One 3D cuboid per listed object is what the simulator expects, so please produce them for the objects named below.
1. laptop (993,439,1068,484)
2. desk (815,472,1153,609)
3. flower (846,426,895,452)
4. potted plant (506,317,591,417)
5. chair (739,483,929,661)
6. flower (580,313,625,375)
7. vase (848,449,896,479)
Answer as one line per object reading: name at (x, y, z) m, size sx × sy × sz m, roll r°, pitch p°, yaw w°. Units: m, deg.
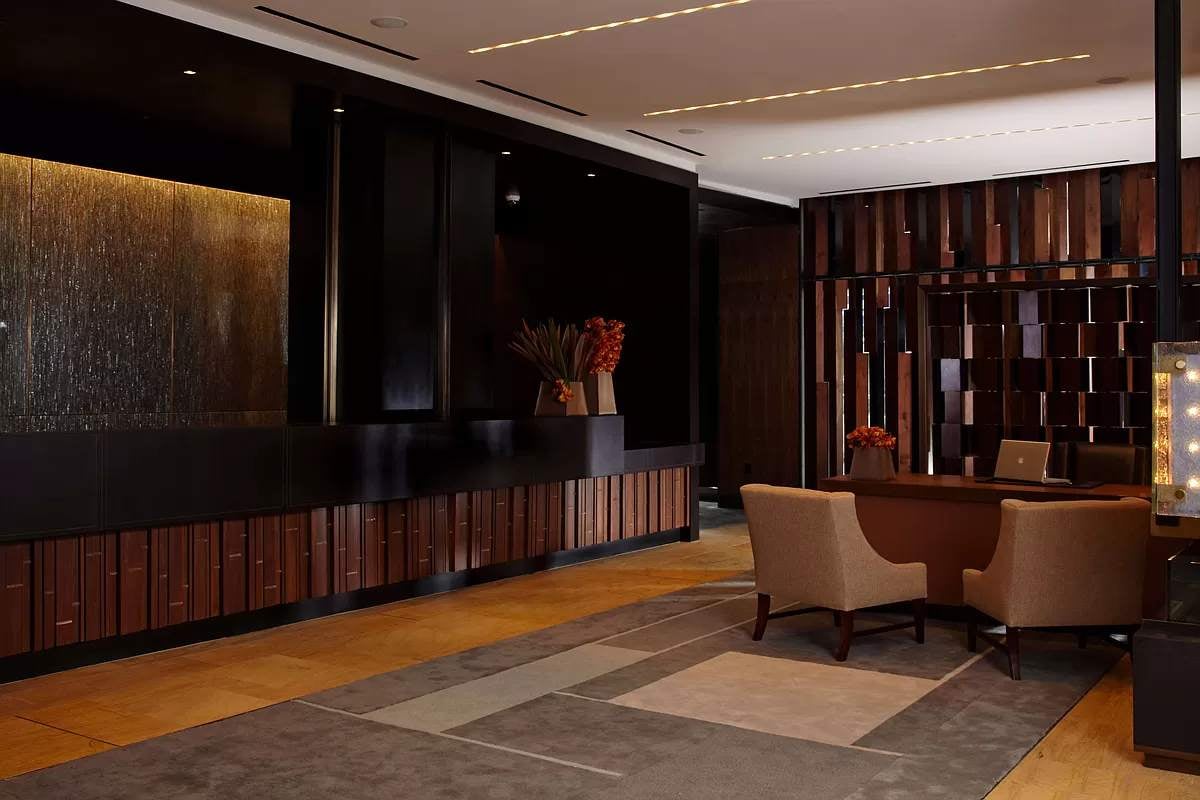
laptop at (3.102, 0.444, 6.370) m, size 0.350 × 0.276 × 0.396 m, roll 0°, pitch -1°, yaw -37°
desk at (2.355, 1.137, 6.632) m, size 1.918 × 0.822 × 0.647 m, roll 9°, pitch -24°, yaw -36°
flower at (2.068, 0.285, 6.675) m, size 0.291 × 0.156 × 0.283 m, roll 0°, pitch 0°, yaw -35°
potted plant at (-0.470, -0.204, 8.477) m, size 0.808 × 0.865 × 0.569 m, roll 0°, pitch -8°, yaw -37°
chair at (1.649, 1.047, 6.113) m, size 1.194 × 1.208 × 1.130 m, roll 2°, pitch -3°, yaw -38°
flower at (0.043, -0.514, 8.783) m, size 0.386 × 0.625 × 0.541 m, roll -8°, pitch -13°, yaw 1°
vase at (2.030, 0.477, 6.629) m, size 0.256 × 0.159 × 0.248 m, roll 0°, pitch -2°, yaw -21°
